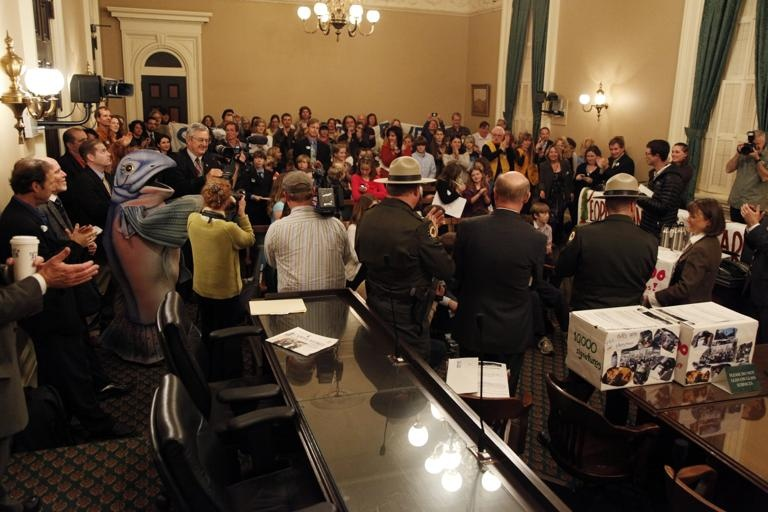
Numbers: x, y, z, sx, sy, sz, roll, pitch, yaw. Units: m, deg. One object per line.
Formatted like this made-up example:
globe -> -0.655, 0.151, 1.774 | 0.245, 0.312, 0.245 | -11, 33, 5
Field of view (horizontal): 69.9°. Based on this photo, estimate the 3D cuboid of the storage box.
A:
storage box -> 1.675, 0.544, 3.465 | 1.068, 0.502, 0.427 | -3, 9, -4

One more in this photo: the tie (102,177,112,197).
tie -> -2.647, -0.662, 5.207 | 0.025, 0.075, 0.283 | -16, 43, -6

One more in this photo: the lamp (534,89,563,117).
lamp -> 3.301, -3.067, 10.896 | 0.356, 0.352, 0.451 | -16, 43, -20

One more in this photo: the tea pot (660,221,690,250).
tea pot -> 2.866, -0.192, 5.441 | 0.195, 0.293, 0.256 | -1, 10, -19

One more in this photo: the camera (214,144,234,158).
camera -> -1.802, -1.153, 6.233 | 0.219, 0.158, 0.280 | 14, 1, -26

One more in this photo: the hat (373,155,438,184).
hat -> 0.139, -0.598, 3.786 | 0.253, 0.185, 0.262 | 1, 15, 4
